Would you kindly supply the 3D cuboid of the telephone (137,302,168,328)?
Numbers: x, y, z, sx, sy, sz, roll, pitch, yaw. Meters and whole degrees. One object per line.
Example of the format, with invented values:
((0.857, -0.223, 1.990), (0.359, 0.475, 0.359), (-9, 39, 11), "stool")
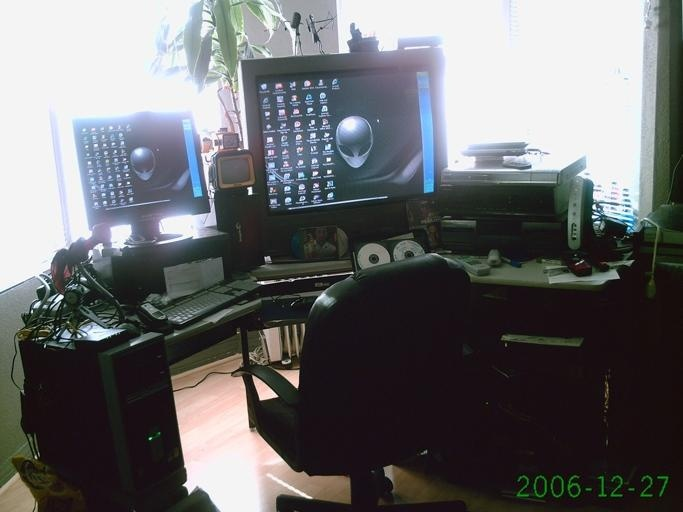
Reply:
((-0.778, 0.243, 2.354), (0.133, 0.046, 0.071), (29, 44, 33), "telephone")

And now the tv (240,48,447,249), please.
((0.000, -0.516, 2.700), (0.692, 0.664, 0.085), (-5, 50, -8), "tv")

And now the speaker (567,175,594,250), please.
((1.095, -0.192, 2.599), (0.168, 0.334, 0.077), (-14, 15, -32), "speaker")

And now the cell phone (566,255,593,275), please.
((1.029, 0.037, 2.484), (0.104, 0.045, 0.210), (-2, 14, 13), "cell phone")

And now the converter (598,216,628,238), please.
((1.298, -0.142, 2.743), (0.142, 0.079, 0.102), (9, 17, 13), "converter")

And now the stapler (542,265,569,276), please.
((0.928, 0.063, 2.474), (0.097, 0.025, 0.091), (-4, 14, 4), "stapler")

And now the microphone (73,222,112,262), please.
((-0.995, -0.065, 2.335), (0.119, 0.134, 0.212), (-3, 14, 9), "microphone")
